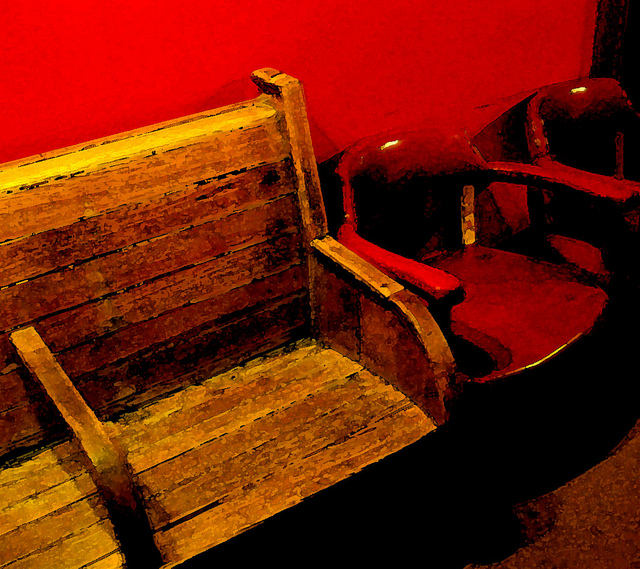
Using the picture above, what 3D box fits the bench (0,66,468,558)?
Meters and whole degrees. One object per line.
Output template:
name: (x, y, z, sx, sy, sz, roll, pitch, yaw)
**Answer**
bench: (-0.307, 0.120, 1.859, 1.454, 0.997, 0.946, -23, 40, -27)
